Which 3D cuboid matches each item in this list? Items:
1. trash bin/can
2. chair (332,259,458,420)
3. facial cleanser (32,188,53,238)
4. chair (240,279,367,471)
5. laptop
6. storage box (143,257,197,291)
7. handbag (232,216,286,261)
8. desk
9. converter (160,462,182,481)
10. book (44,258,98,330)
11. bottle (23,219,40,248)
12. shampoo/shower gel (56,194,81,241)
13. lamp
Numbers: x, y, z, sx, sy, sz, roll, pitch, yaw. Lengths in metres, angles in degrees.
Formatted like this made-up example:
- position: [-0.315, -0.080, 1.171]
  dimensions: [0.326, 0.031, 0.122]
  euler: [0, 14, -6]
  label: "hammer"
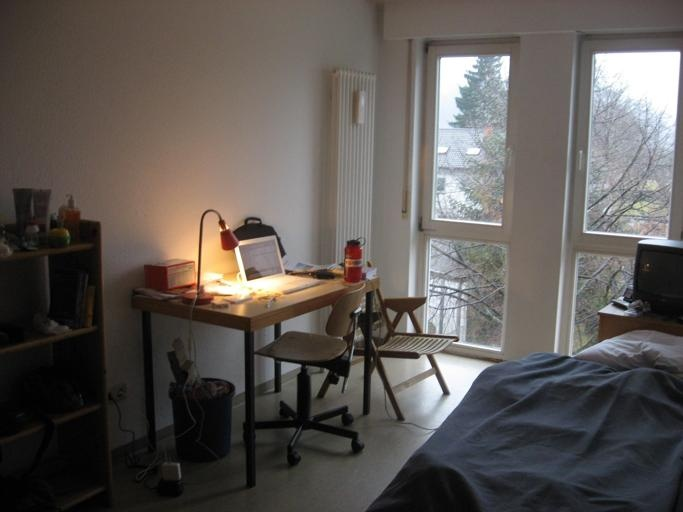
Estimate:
- position: [-0.836, 1.000, 3.419]
  dimensions: [0.415, 0.414, 0.457]
  euler: [1, 0, 42]
  label: "trash bin/can"
- position: [0.428, 0.696, 4.364]
  dimensions: [0.680, 1.148, 1.006]
  euler: [-7, 5, -44]
  label: "chair"
- position: [-1.518, -0.241, 2.757]
  dimensions: [0.069, 0.212, 0.194]
  euler: [-2, 14, -13]
  label: "facial cleanser"
- position: [-0.213, 0.715, 3.492]
  dimensions: [0.771, 1.021, 0.743]
  euler: [3, 3, 14]
  label: "chair"
- position: [-0.443, 0.080, 3.650]
  dimensions: [0.412, 0.355, 0.481]
  euler: [7, 11, 28]
  label: "laptop"
- position: [-1.075, 0.064, 3.355]
  dimensions: [0.177, 0.149, 0.262]
  euler: [6, 10, 22]
  label: "storage box"
- position: [-0.598, -0.146, 3.933]
  dimensions: [0.353, 0.365, 0.225]
  euler: [-6, 0, -9]
  label: "handbag"
- position: [-0.533, 0.380, 3.554]
  dimensions: [1.064, 1.228, 1.426]
  euler: [6, 11, 31]
  label: "desk"
- position: [-0.950, 1.191, 2.999]
  dimensions: [0.104, 0.110, 0.065]
  euler: [0, 13, -8]
  label: "converter"
- position: [-1.389, 0.195, 2.781]
  dimensions: [0.285, 0.416, 0.280]
  euler: [1, 0, 26]
  label: "book"
- position: [-1.515, -0.104, 2.633]
  dimensions: [0.073, 0.111, 0.136]
  euler: [-6, 15, -27]
  label: "bottle"
- position: [-1.418, -0.201, 2.808]
  dimensions: [0.107, 0.218, 0.154]
  euler: [-5, 15, -26]
  label: "shampoo/shower gel"
- position: [-0.820, -0.059, 3.409]
  dimensions: [0.315, 0.539, 0.762]
  euler: [-1, 14, -11]
  label: "lamp"
